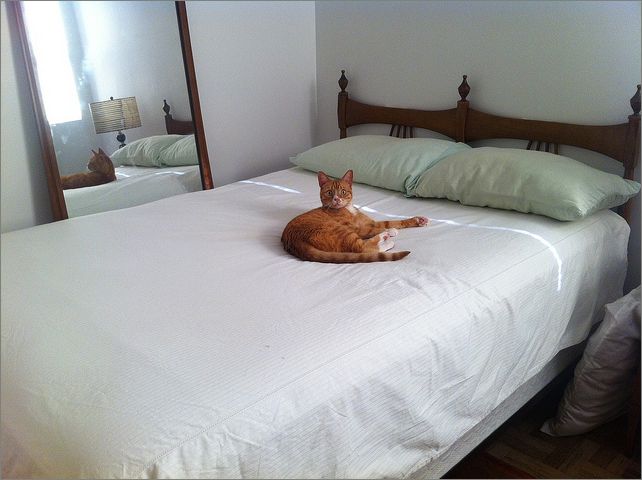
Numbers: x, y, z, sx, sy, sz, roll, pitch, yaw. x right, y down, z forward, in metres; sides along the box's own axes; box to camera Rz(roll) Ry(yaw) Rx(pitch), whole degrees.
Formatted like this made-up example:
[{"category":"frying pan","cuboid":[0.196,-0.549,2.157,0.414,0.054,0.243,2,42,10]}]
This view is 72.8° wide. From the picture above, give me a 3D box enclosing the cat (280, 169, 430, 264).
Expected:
[{"category":"cat","cuboid":[0.066,-0.114,1.837,0.384,0.240,0.490,-8,12,-17]}]
